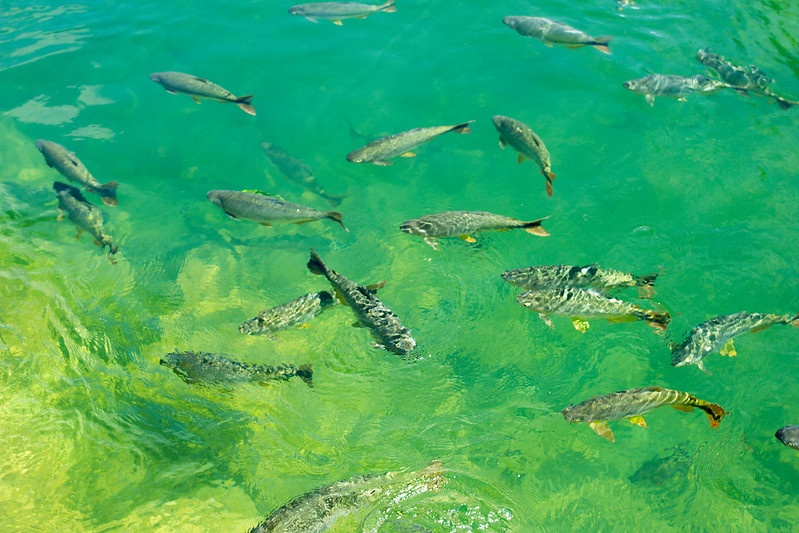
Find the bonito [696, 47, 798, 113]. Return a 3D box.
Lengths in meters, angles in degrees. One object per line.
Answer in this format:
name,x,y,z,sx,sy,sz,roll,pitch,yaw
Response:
bonito,11.163,-6.060,24.843,4.290,0.465,1.109,33,81,19

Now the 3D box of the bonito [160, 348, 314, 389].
bonito,-4.675,2.904,21.405,3.576,0.614,0.740,4,61,0
